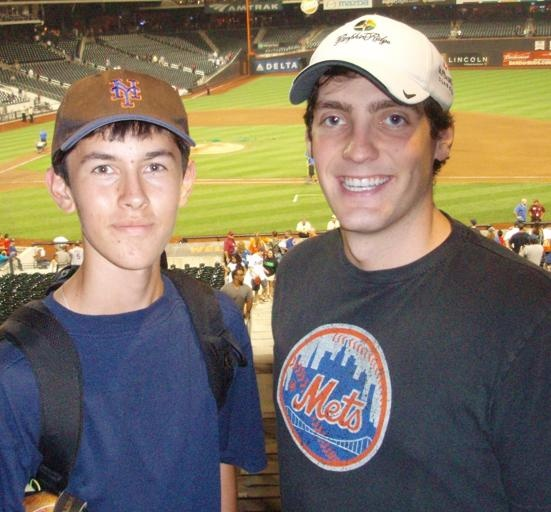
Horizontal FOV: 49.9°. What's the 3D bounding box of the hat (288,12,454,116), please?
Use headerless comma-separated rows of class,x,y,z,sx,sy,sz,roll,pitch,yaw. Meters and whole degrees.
hat,0.437,-0.777,2.416,0.536,0.359,0.733,14,10,32

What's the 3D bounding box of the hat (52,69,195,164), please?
hat,-0.603,-0.569,2.333,0.556,0.267,0.518,-4,15,-17
